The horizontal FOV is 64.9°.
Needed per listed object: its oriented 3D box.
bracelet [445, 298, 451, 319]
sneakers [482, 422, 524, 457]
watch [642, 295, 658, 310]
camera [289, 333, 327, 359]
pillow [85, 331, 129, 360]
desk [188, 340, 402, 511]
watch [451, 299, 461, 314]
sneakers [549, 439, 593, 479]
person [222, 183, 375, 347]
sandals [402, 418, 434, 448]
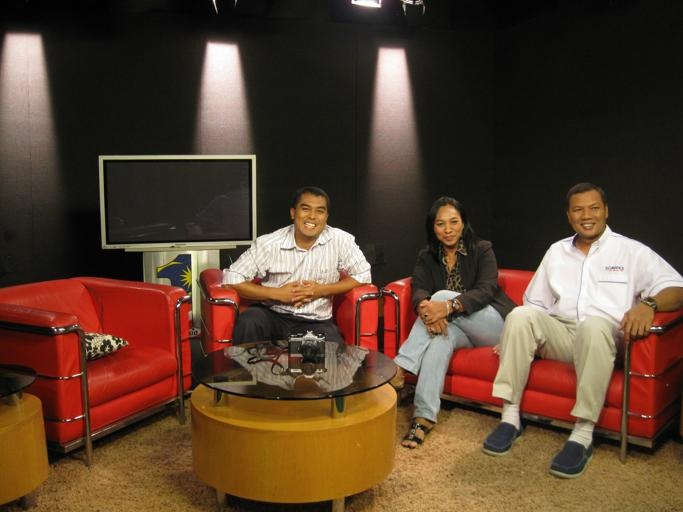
[{"bbox_3d":[0.706,0.343,3.536,0.020,0.082,0.079,6,-13,-8],"label":"bracelet"},{"bbox_3d":[0.964,1.072,3.194,0.107,0.113,0.270,3,9,42],"label":"sneakers"},{"bbox_3d":[1.740,0.267,3.030,0.043,0.072,0.072,-2,20,0],"label":"watch"},{"bbox_3d":[-0.176,0.475,2.855,0.177,0.121,0.131,1,-1,-2],"label":"camera"},{"bbox_3d":[-1.452,0.528,3.294,0.149,0.094,0.254,49,16,14],"label":"pillow"},{"bbox_3d":[-0.239,0.859,2.560,0.756,0.476,0.775,-1,6,-17],"label":"desk"},{"bbox_3d":[0.754,0.340,3.517,0.058,0.062,0.074,-1,-4,14],"label":"watch"},{"bbox_3d":[1.278,1.116,2.997,0.118,0.116,0.277,2,10,40],"label":"sneakers"},{"bbox_3d":[-0.266,0.259,3.755,1.030,1.397,0.804,1,19,-17],"label":"person"},{"bbox_3d":[0.461,1.081,3.292,0.100,0.090,0.261,-1,5,28],"label":"sandals"}]
